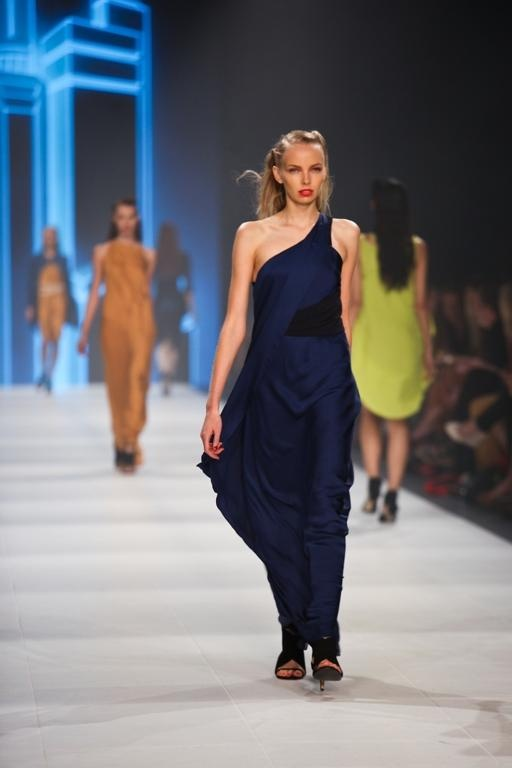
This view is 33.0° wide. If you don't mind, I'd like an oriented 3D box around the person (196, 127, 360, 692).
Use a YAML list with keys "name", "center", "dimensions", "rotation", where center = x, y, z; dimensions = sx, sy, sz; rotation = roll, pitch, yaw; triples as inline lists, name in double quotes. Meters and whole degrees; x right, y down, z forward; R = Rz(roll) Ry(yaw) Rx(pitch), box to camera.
- name: "person"
  center: [0.046, 0.042, 2.021]
  dimensions: [0.382, 1.288, 0.418]
  rotation: [1, 1, 5]

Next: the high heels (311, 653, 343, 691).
- name: "high heels"
  center: [0.165, 0.630, 1.876]
  dimensions: [0.053, 0.088, 0.037]
  rotation: [1, 51, 2]

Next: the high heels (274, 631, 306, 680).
- name: "high heels"
  center: [0.080, 0.637, 2.009]
  dimensions: [0.085, 0.159, 0.235]
  rotation: [0, -18, 3]
